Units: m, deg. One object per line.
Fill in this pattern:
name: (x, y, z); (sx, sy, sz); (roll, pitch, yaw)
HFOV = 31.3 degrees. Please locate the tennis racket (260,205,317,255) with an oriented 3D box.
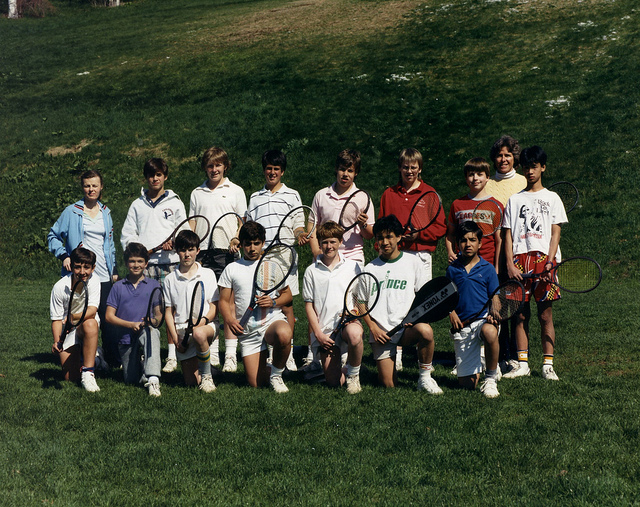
tennis racket: (-0.608, -0.668, 28.336); (0.156, 0.689, 2.161); (-37, 11, 41)

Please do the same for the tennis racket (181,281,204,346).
tennis racket: (-2.928, 1.182, 26.980); (0.327, 1.026, 0.617); (-1, 7, 3)

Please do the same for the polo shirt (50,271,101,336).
polo shirt: (-5.872, 1.102, 27.445); (0.984, 1.403, 0.922); (-11, 45, -22)

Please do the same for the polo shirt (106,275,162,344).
polo shirt: (-4.442, 1.377, 27.399); (1.241, 1.742, 0.566); (2, -9, -6)

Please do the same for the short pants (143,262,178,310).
short pants: (-3.900, 0.715, 28.659); (0.681, 1.188, 0.569); (0, -4, 6)

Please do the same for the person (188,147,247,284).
person: (-2.578, -0.932, 28.563); (1.024, 3.759, 1.361); (1, 3, 4)

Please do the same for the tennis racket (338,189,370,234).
tennis racket: (0.765, -1.064, 27.975); (0.202, 1.041, 0.693); (21, 20, -44)

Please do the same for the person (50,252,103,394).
person: (-5.856, 1.619, 27.446); (0.913, 3.312, 1.389); (1, 2, 11)

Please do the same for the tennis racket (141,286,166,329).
tennis racket: (-3.967, 1.298, 27.440); (0.172, 0.942, 0.587); (0, 4, 31)
